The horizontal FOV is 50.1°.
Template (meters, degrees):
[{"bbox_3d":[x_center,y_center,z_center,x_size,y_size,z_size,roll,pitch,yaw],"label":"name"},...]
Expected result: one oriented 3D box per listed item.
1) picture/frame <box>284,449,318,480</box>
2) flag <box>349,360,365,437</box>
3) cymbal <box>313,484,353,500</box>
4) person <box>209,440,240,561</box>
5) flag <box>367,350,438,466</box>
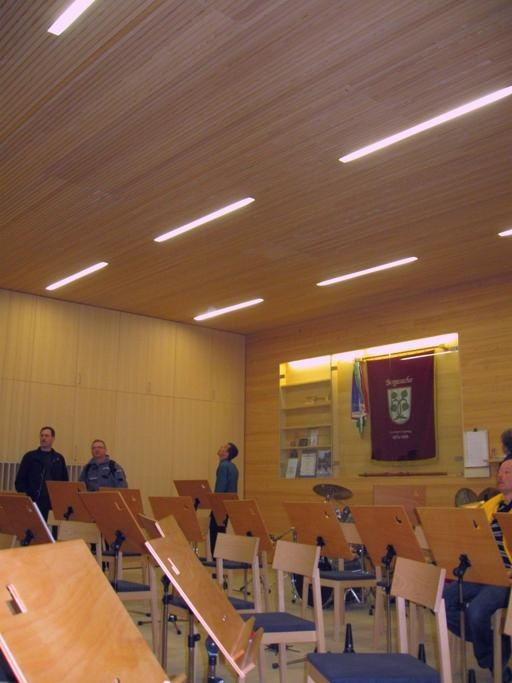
[{"bbox_3d":[0.824,2.207,9.834,0.484,0.464,0.157,-15,-42,29],"label":"picture/frame"},{"bbox_3d":[1.743,0.914,9.250,0.229,1.229,0.183,9,-17,-30],"label":"flag"},{"bbox_3d":[0.980,1.927,7.026,0.463,0.204,0.256,-2,-14,10],"label":"cymbal"},{"bbox_3d":[-0.499,2.071,7.561,0.413,1.379,0.376,5,10,14],"label":"person"},{"bbox_3d":[2.344,1.067,8.617,1.700,2.154,0.251,-11,-19,44],"label":"flag"}]
